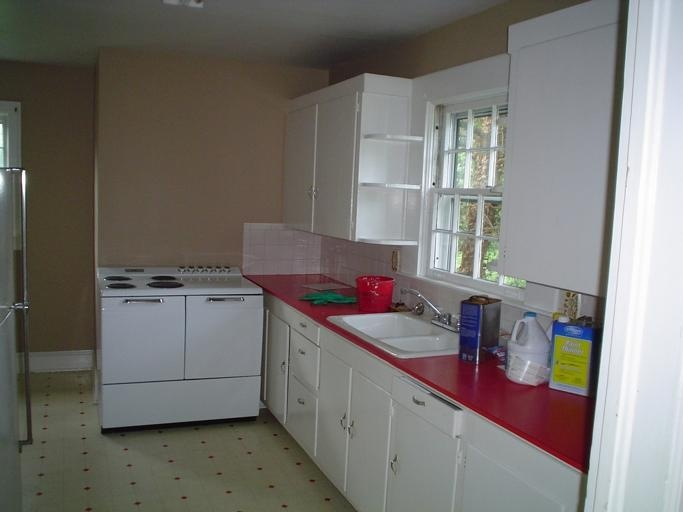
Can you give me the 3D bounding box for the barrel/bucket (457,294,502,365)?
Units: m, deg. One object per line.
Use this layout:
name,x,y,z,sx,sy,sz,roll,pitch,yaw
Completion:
barrel/bucket,0.687,0.339,2.547,0.142,0.290,0.273,9,11,44

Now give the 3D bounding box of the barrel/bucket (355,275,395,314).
barrel/bucket,0.218,0.223,3.408,0.210,0.182,0.237,-3,11,-19

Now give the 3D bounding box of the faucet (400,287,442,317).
faucet,0.502,0.275,3.199,0.328,0.135,0.091,19,-9,-15

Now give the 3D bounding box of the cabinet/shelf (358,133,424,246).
cabinet/shelf,0.306,-0.428,3.378,0.365,0.685,0.240,-1,8,-21

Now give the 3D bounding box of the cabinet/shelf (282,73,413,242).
cabinet/shelf,-0.007,-0.673,3.991,0.474,1.080,1.484,-2,10,-31

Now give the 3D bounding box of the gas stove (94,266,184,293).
gas stove,-1.505,0.167,3.951,0.611,0.086,0.671,-1,9,-22

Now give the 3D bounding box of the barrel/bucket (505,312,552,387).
barrel/bucket,0.795,0.391,2.238,0.175,0.292,0.116,4,8,17
